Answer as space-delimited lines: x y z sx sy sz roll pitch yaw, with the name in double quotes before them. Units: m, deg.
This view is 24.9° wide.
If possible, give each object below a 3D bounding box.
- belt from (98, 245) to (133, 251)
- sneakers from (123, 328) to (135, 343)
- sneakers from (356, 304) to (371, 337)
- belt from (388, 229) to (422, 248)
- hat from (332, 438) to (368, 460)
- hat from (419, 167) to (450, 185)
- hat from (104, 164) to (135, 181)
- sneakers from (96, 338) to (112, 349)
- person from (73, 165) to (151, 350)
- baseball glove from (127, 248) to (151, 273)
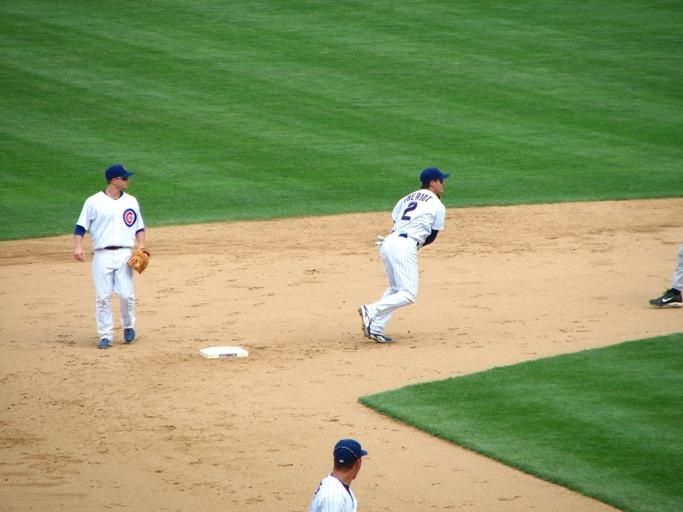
"belt" -4.130 -0.135 28.131 0.589 0.088 0.111 1 9 -11
"sneakers" -3.873 1.472 28.335 0.145 0.275 0.131 -3 24 -8
"sneakers" 0.419 1.200 28.326 0.288 0.565 0.204 -20 15 1
"belt" 1.206 -0.311 28.274 0.361 0.118 0.348 25 -1 26
"hat" 0.146 2.959 23.463 0.320 0.202 0.427 17 26 34
"hat" 1.754 -1.455 28.508 0.590 0.268 0.343 -8 17 -8
"hat" -4.023 -1.491 28.182 0.482 0.210 0.301 -5 16 -11
"sneakers" -4.289 1.612 28.117 0.228 0.178 0.474 0 -3 -6
"person" -4.171 0.022 28.150 1.146 3.295 0.710 2 10 -7
"baseball glove" -3.661 0.098 28.257 0.389 0.426 0.188 26 -31 0
